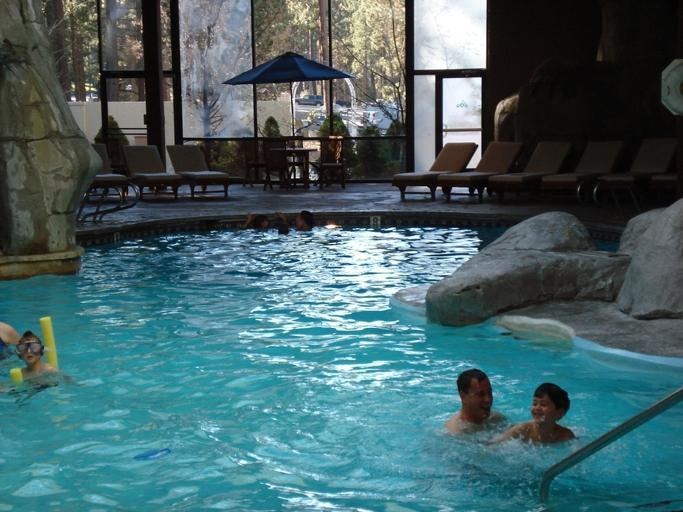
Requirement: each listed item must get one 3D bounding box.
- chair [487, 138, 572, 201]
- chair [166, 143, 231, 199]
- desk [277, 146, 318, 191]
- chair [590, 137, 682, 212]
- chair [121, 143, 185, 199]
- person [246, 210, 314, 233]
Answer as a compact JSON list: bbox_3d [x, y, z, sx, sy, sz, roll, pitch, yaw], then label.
[{"bbox_3d":[4.025,-1.925,12.519,2.136,1.184,1.090,-8,11,-32],"label":"chair"},{"bbox_3d":[-3.444,-2.035,14.489,1.066,1.075,1.774,-5,7,-19],"label":"chair"},{"bbox_3d":[-1.343,-2.526,16.459,1.240,0.806,1.250,3,7,10],"label":"desk"},{"bbox_3d":[5.422,-1.746,11.536,2.384,1.516,1.188,-10,12,-36],"label":"chair"},{"bbox_3d":[-4.553,-2.050,13.927,1.585,1.125,0.969,10,5,37],"label":"chair"},{"bbox_3d":[-1.069,-0.646,10.369,1.163,0.376,0.908,11,18,43],"label":"person"}]
